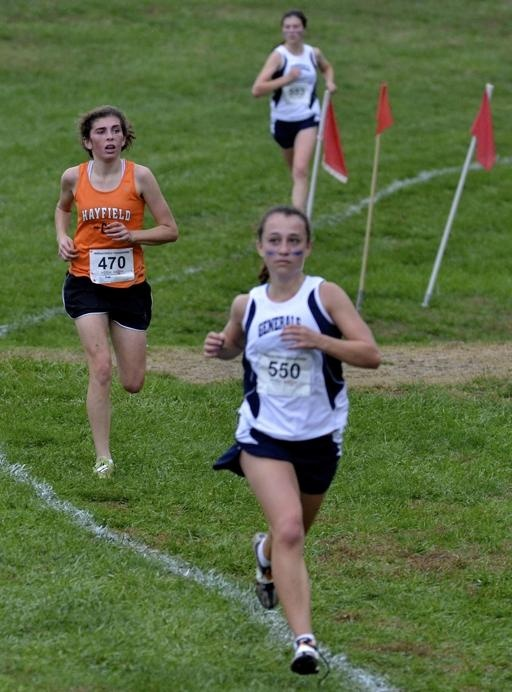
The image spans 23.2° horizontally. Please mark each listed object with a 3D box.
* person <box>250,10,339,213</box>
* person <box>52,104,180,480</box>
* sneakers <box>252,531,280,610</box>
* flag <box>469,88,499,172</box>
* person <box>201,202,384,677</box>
[{"bbox_3d":[0.313,-2.142,11.642,0.719,1.908,1.135,4,18,3],"label":"person"},{"bbox_3d":[-0.906,-0.357,7.880,0.738,2.244,0.885,0,18,-9],"label":"person"},{"bbox_3d":[0.082,1.122,6.220,0.136,0.346,0.158,-8,14,-5],"label":"sneakers"},{"bbox_3d":[2.416,-2.298,13.415,0.278,0.940,1.200,6,17,9],"label":"flag"},{"bbox_3d":[0.175,0.388,5.920,0.716,1.958,1.334,-2,19,-17],"label":"person"}]
